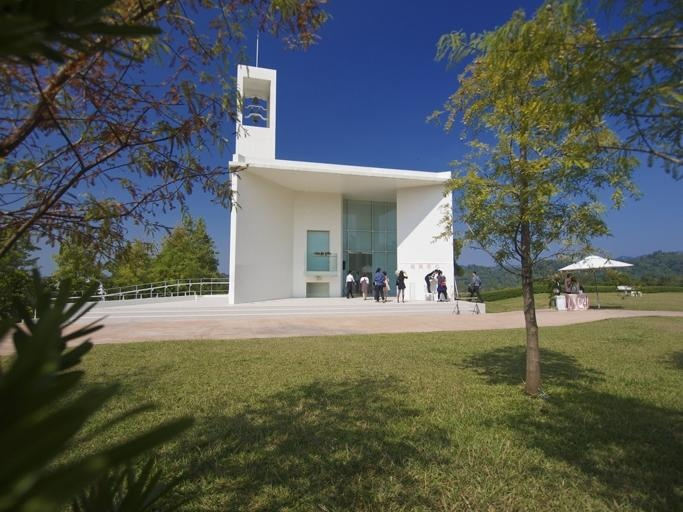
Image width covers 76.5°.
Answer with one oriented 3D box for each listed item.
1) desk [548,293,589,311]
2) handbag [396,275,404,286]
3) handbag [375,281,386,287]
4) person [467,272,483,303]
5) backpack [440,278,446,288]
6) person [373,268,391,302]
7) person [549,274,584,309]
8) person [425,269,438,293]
[{"bbox_3d":[10.230,2.032,19.153,1.692,0.705,1.032,-2,-6,4],"label":"desk"},{"bbox_3d":[2.862,1.177,20.874,0.317,0.523,0.512,-3,-6,18],"label":"handbag"},{"bbox_3d":[1.865,1.335,20.571,0.516,0.342,0.499,0,-6,-11],"label":"handbag"},{"bbox_3d":[6.614,1.535,21.483,0.489,1.449,3.175,-2,-6,16],"label":"person"},{"bbox_3d":[4.842,1.247,20.573,0.181,0.513,0.556,-4,-6,34],"label":"backpack"},{"bbox_3d":[1.933,1.392,21.122,0.556,1.663,1.892,-2,-6,8],"label":"person"},{"bbox_3d":[9.766,1.615,18.772,1.563,1.690,0.993,2,-7,-16],"label":"person"},{"bbox_3d":[4.581,1.288,22.228,0.616,1.136,0.603,-1,-5,3],"label":"person"}]
